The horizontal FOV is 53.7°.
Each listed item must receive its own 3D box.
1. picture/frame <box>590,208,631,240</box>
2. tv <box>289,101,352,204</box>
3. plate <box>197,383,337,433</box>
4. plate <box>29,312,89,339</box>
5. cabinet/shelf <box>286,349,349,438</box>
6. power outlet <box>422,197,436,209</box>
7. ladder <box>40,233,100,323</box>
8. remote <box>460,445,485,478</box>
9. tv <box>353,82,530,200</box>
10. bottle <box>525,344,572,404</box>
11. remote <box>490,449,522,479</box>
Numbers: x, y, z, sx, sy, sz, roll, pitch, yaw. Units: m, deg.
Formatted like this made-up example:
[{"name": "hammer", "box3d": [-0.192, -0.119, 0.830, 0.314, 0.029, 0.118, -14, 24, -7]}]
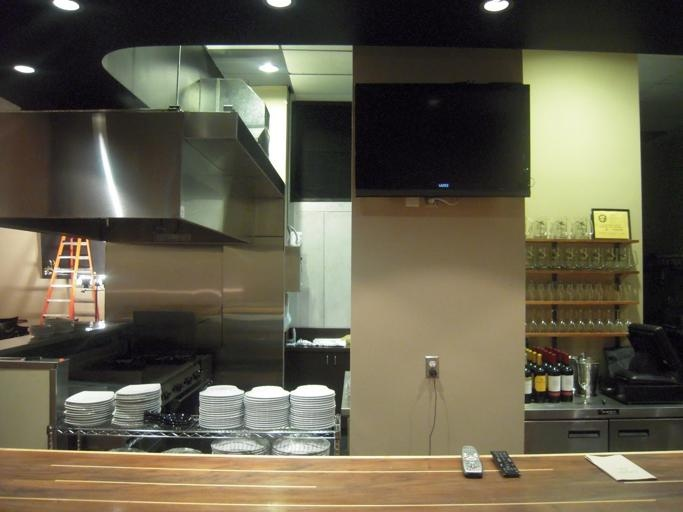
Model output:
[{"name": "picture/frame", "box3d": [2.099, -0.245, 5.262, 0.220, 0.209, 0.079, 4, -10, -5]}, {"name": "tv", "box3d": [-0.195, -1.021, 6.606, 0.635, 0.997, 0.098, 1, -1, 1]}, {"name": "plate", "box3d": [-0.491, 1.008, 4.524, 0.899, 0.231, 0.287, 0, 11, -1]}, {"name": "plate", "box3d": [-2.176, 0.542, 5.226, 0.439, 0.128, 0.273, -6, 13, -29]}, {"name": "cabinet/shelf", "box3d": [-0.165, 1.155, 6.245, 0.922, 0.888, 0.505, 0, -3, -4]}, {"name": "power outlet", "box3d": [0.610, -0.365, 4.631, 0.073, 0.073, 0.055, 2, 8, 7]}, {"name": "ladder", "box3d": [-2.935, 0.226, 7.703, 0.347, 0.929, 0.309, -1, -3, -28]}, {"name": "remote", "box3d": [0.734, 1.160, 3.831, 0.120, 0.033, 0.263, 1, 19, 7]}, {"name": "tv", "box3d": [0.682, -0.732, 4.548, 1.201, 0.731, 0.121, 0, 0, -4]}, {"name": "bottle", "box3d": [1.487, 0.838, 4.836, 0.376, 0.365, 0.377, 0, -4, -1]}, {"name": "remote", "box3d": [0.926, 1.183, 3.816, 0.166, 0.067, 0.285, 2, 9, -1]}]
